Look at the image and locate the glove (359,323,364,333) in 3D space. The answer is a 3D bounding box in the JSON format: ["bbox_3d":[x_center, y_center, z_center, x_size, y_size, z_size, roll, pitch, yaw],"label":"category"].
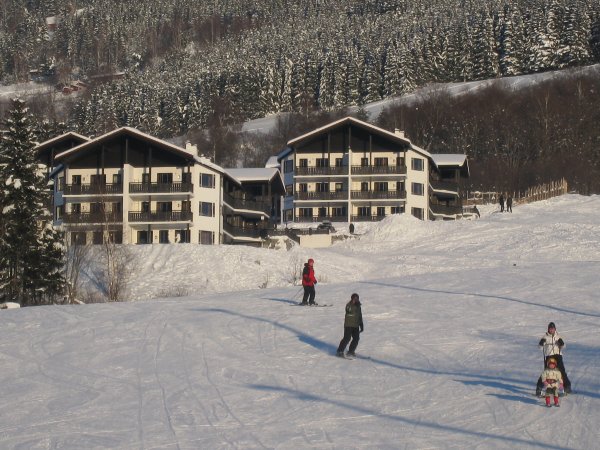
[{"bbox_3d":[4.166,6.964,72.656,0.275,0.813,0.618,-2,14,-2],"label":"glove"}]

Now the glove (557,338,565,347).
[{"bbox_3d":[16.851,7.578,68.310,0.466,0.561,0.285,-8,16,-26],"label":"glove"}]

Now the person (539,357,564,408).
[{"bbox_3d":[16.111,10.026,67.955,1.334,2.877,1.136,2,14,13],"label":"person"}]

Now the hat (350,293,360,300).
[{"bbox_3d":[3.723,4.853,72.512,0.489,0.574,0.866,1,15,7],"label":"hat"}]

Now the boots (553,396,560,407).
[{"bbox_3d":[16.504,11.171,67.929,0.354,0.627,0.651,2,15,12],"label":"boots"}]
